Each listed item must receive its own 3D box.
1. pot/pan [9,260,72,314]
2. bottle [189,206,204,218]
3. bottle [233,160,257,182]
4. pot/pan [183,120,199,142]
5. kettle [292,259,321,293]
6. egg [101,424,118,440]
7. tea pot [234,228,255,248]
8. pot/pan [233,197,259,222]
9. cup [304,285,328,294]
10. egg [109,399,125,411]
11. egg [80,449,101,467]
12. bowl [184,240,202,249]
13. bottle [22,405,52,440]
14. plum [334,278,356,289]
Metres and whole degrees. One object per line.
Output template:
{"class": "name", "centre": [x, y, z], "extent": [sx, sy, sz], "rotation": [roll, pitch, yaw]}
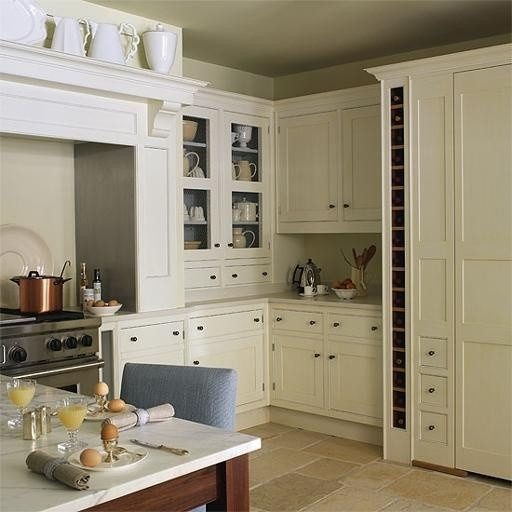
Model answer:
{"class": "pot/pan", "centre": [-1.178, 0.178, 2.765], "extent": [0.301, 0.217, 0.261], "rotation": [0, -3, 1]}
{"class": "bottle", "centre": [-0.436, -0.325, 3.705], "extent": [0.090, 0.084, 0.097], "rotation": [-2, -3, 38]}
{"class": "bottle", "centre": [-0.102, -0.683, 4.036], "extent": [0.218, 0.125, 0.128], "rotation": [4, -7, -40]}
{"class": "pot/pan", "centre": [-0.480, -0.906, 3.672], "extent": [0.157, 0.100, 0.145], "rotation": [1, -2, -23]}
{"class": "kettle", "centre": [0.428, 0.183, 4.288], "extent": [0.219, 0.290, 0.331], "rotation": [3, -5, -44]}
{"class": "egg", "centre": [-0.301, 0.363, 1.034], "extent": [0.034, 0.033, 0.031], "rotation": [1, 9, 4]}
{"class": "tea pot", "centre": [-0.094, -0.144, 4.025], "extent": [0.190, 0.147, 0.115], "rotation": [1, -5, -33]}
{"class": "pot/pan", "centre": [-0.091, -0.365, 4.017], "extent": [0.175, 0.165, 0.211], "rotation": [-1, -6, 8]}
{"class": "cup", "centre": [0.483, 0.273, 4.060], "extent": [0.141, 0.046, 0.087], "rotation": [-1, -1, 32]}
{"class": "egg", "centre": [-0.389, 0.411, 1.404], "extent": [0.047, 0.031, 0.033], "rotation": [4, 4, -36]}
{"class": "egg", "centre": [-0.330, 0.404, 1.001], "extent": [0.044, 0.031, 0.033], "rotation": [25, -29, 1]}
{"class": "bowl", "centre": [-0.461, -0.080, 3.696], "extent": [0.054, 0.064, 0.158], "rotation": [2, 2, 41]}
{"class": "bottle", "centre": [-0.560, 0.430, 1.288], "extent": [0.035, 0.060, 0.076], "rotation": [0, -1, 13]}
{"class": "plum", "centre": [0.689, 0.209, 3.800], "extent": [0.096, 0.040, 0.094], "rotation": [-24, 6, -39]}
